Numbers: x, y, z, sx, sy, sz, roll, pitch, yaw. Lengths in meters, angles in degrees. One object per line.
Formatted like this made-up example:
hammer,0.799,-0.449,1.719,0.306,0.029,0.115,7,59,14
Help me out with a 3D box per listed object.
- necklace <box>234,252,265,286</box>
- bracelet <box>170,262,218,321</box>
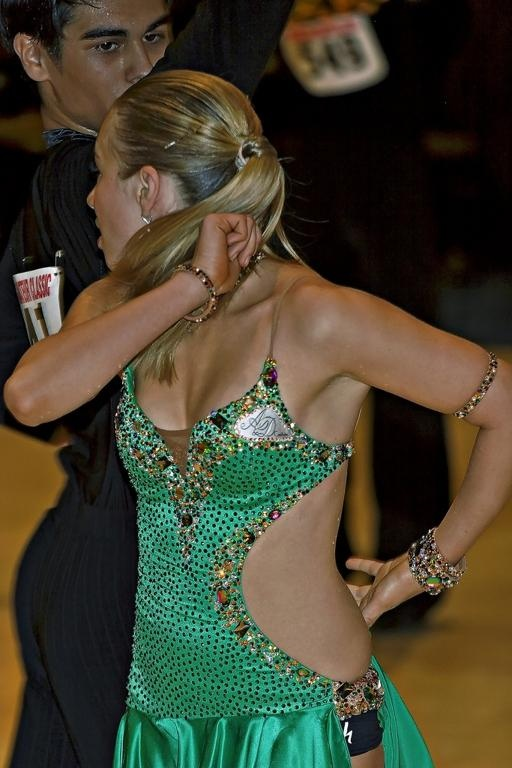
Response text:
necklace,-0.007,-0.157,0.935,0.020,0.018,0.062,34,75,16
bracelet,-0.090,-0.122,0.936,0.023,0.069,0.064,-6,5,32
